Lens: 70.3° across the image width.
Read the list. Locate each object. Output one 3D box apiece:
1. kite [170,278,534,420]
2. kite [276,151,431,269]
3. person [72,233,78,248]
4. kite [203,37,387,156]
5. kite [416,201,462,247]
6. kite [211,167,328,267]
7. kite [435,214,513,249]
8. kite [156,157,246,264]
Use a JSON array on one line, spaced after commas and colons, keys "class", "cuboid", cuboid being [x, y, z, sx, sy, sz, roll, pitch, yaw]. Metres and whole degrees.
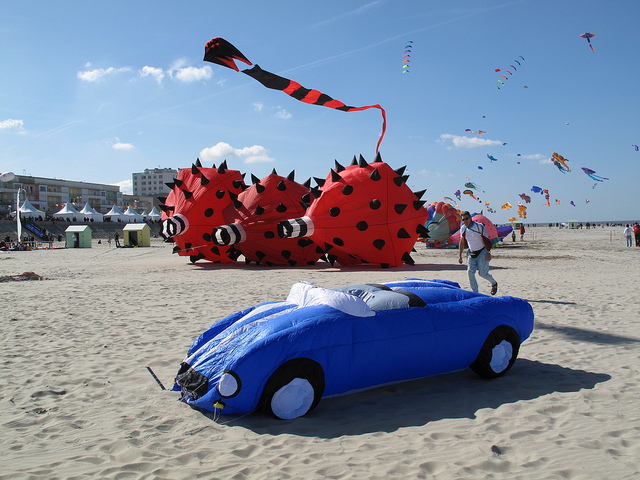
[{"class": "kite", "cuboid": [0.417, 1.093, 4.970, 3.045, 0.855, 1.605, -3, -3, -25]}, {"class": "kite", "cuboid": [0.527, -0.687, 14.533, 4.306, 3.039, 5.147, 9, 18, 41]}, {"class": "person", "cuboid": [-16.660, 0.003, 31.139, 0.293, 0.878, 0.286, 4, 10, 33]}, {"class": "kite", "cuboid": [-0.432, -1.898, 5.247, 1.805, 0.972, 1.855, -2, 8, -10]}, {"class": "kite", "cuboid": [5.755, -0.762, 21.880, 1.989, 1.544, 1.058, -37, 47, -13]}, {"class": "kite", "cuboid": [-1.886, -0.632, 15.690, 3.703, 3.276, 3.578, -2, 1, -35]}, {"class": "kite", "cuboid": [7.661, -0.267, 21.554, 1.461, 1.808, 4.475, 5, 4, 27]}, {"class": "kite", "cuboid": [-3.850, -1.112, 17.203, 4.049, 3.903, 3.864, 1, 22, -10]}]
